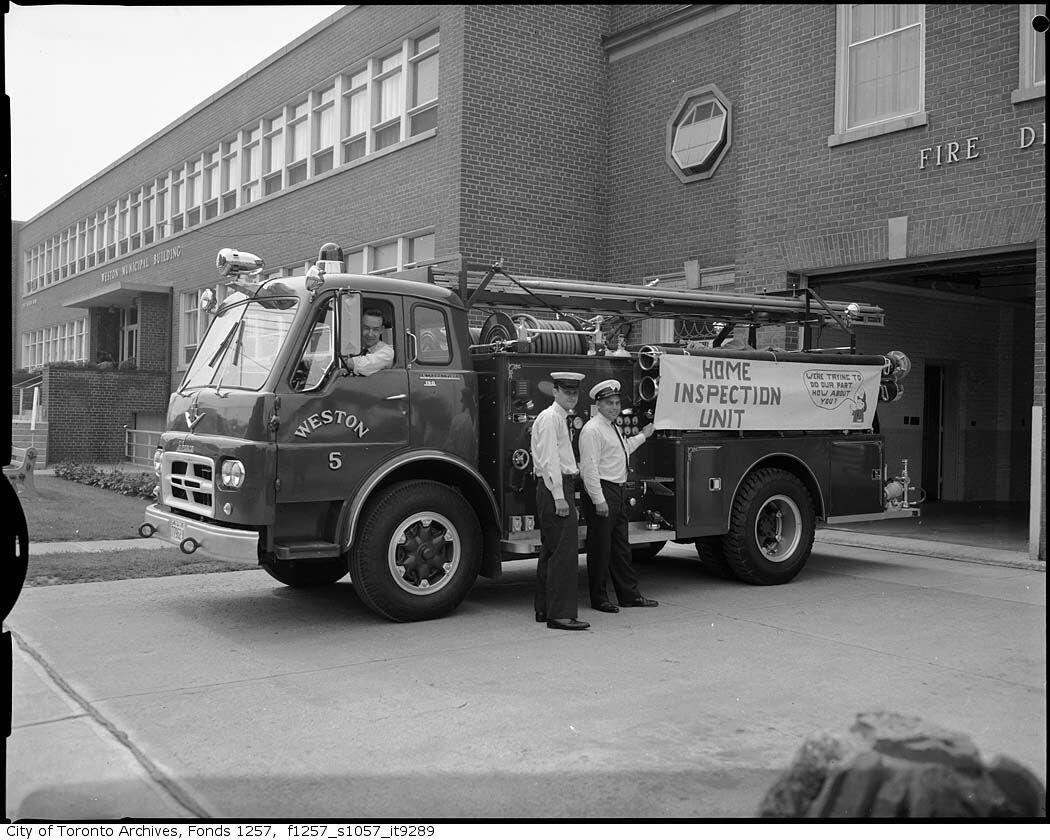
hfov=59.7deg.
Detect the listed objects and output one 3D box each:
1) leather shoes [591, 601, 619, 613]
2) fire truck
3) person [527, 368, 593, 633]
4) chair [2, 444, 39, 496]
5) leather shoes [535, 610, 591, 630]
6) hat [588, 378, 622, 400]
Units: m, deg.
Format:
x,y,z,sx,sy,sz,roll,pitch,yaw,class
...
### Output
x,y,z,sx,sy,sz,roll,pitch,yaw,class
0.799,1.880,9.146,0.099,0.127,0.291,5,-11,-36,leather shoes
0.841,0.211,10.984,8.161,3.565,3.065,0,1,-16,fire truck
0.328,0.743,8.532,0.492,2.388,0.539,0,1,-5,person
-8.811,0.911,16.148,0.512,0.734,0.969,4,-6,-42,chair
0.344,1.865,8.460,0.453,0.155,0.180,-3,-6,16,leather shoes
0.789,-0.286,9.033,0.250,0.192,0.224,-1,0,18,hat
